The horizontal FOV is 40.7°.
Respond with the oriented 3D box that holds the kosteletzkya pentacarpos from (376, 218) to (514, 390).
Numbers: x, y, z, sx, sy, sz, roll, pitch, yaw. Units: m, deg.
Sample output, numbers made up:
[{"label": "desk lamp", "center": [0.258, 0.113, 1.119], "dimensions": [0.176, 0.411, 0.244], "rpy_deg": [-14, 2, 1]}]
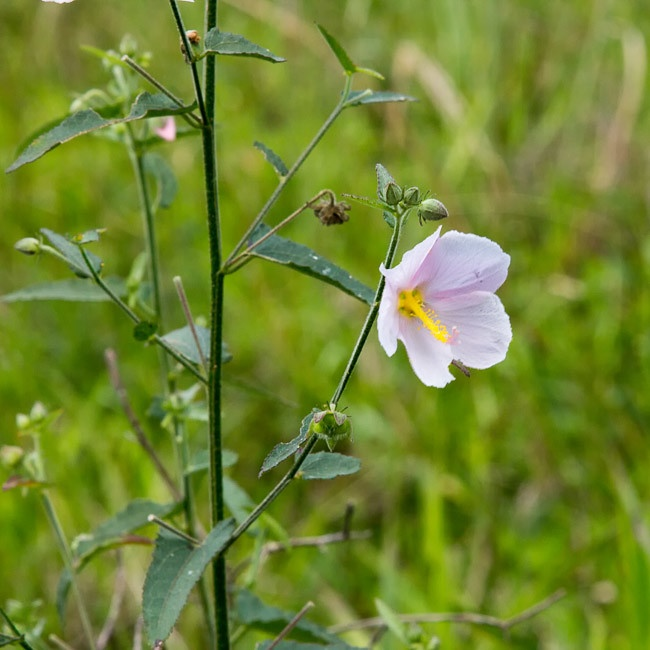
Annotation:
[{"label": "kosteletzkya pentacarpos", "center": [0.241, -0.049, 1.813], "dimensions": [0.141, 0.325, 0.315], "rpy_deg": [31, 1, 35]}]
